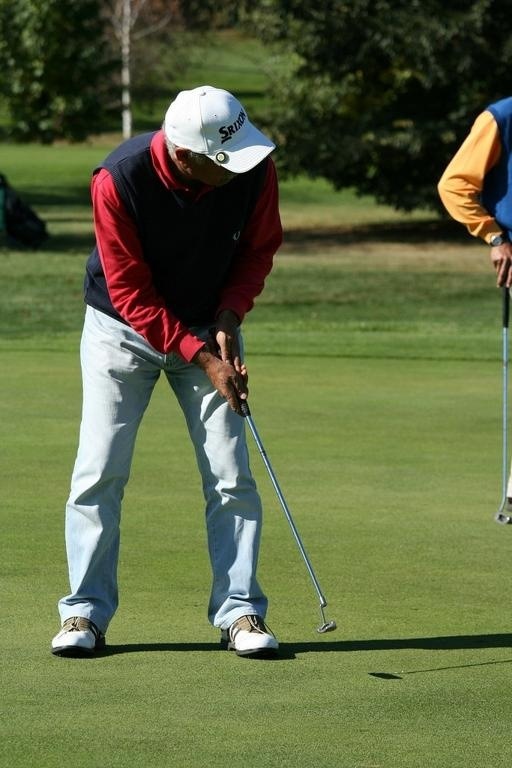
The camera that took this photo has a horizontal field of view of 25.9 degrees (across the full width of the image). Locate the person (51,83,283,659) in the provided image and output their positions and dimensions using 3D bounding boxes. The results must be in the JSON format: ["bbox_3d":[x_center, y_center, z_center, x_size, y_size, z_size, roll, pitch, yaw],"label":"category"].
[{"bbox_3d":[-0.274,-0.034,3.217,0.711,1.440,0.746,-3,4,-34],"label":"person"}]

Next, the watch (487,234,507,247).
[{"bbox_3d":[0.864,-0.510,4.002,0.055,0.012,0.048,-13,43,26],"label":"watch"}]

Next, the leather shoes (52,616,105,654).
[{"bbox_3d":[-0.474,0.677,2.951,0.119,0.082,0.127,2,10,7],"label":"leather shoes"}]

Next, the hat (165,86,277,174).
[{"bbox_3d":[-0.099,-0.671,2.953,0.286,0.224,0.199,1,11,0],"label":"hat"}]
